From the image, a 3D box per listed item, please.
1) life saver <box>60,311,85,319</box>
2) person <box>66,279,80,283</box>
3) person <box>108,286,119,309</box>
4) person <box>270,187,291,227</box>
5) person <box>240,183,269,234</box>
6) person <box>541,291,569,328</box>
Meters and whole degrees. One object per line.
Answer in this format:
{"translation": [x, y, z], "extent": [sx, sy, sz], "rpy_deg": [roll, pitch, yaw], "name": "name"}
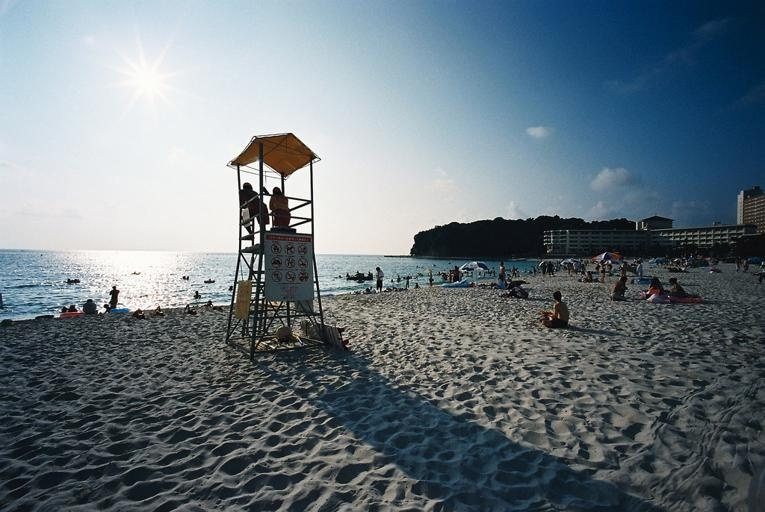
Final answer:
{"translation": [-13.039, 2.472, 19.095], "extent": [0.646, 0.143, 0.644], "rpy_deg": [-3, -5, 33], "name": "life saver"}
{"translation": [-31.843, 2.747, 47.132], "extent": [1.079, 0.269, 1.320], "rpy_deg": [0, 2, 5], "name": "person"}
{"translation": [-12.271, 1.905, 20.839], "extent": [0.317, 0.988, 1.753], "rpy_deg": [0, -5, -33], "name": "person"}
{"translation": [-2.818, -1.236, 12.449], "extent": [0.482, 1.164, 0.576], "rpy_deg": [-2, -4, -12], "name": "person"}
{"translation": [-3.519, -1.298, 12.503], "extent": [0.629, 1.451, 1.715], "rpy_deg": [-1, -4, -21], "name": "person"}
{"translation": [5.507, 1.700, 14.616], "extent": [0.894, 1.111, 0.839], "rpy_deg": [0, 0, 10], "name": "person"}
